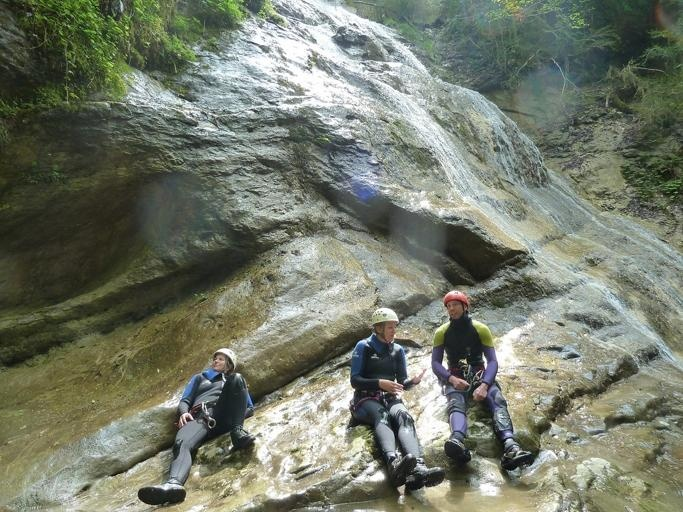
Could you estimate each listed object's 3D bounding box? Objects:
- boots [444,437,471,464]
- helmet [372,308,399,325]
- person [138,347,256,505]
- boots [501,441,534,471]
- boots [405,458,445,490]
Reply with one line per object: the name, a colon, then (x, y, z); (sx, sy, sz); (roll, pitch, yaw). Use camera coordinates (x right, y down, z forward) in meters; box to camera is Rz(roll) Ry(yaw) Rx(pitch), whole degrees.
boots: (1.674, 2.834, 7.803); (0.232, 0.234, 0.496); (-3, 8, -27)
helmet: (0.686, 0.965, 8.924); (0.349, 0.189, 0.288); (-14, -21, 26)
person: (-2.183, 2.748, 8.694); (1.163, 1.350, 1.987); (9, 6, -9)
boots: (2.524, 2.894, 7.786); (0.400, 0.355, 0.305); (-4, 20, 37)
boots: (1.138, 3.054, 7.523); (0.428, 0.157, 0.327); (-27, 21, 3)
